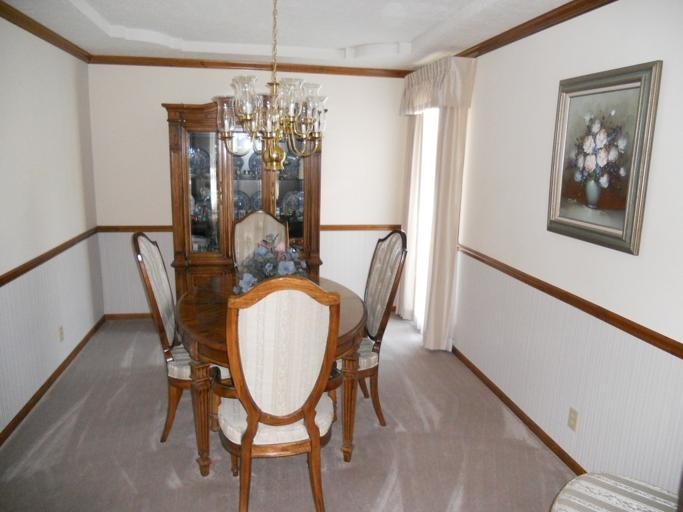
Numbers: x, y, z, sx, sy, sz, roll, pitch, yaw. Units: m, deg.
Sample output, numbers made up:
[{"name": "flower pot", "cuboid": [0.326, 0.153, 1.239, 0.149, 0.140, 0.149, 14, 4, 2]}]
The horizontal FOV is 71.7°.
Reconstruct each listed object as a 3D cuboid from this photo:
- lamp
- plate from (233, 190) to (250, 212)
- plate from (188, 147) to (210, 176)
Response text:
[{"name": "lamp", "cuboid": [-0.635, -1.469, 4.024, 0.885, 1.535, 0.945, -4, 22, -14]}, {"name": "plate", "cuboid": [-1.030, -0.579, 4.868, 0.161, 0.189, 0.051, -11, 10, -22]}, {"name": "plate", "cuboid": [-1.459, -0.972, 4.782, 0.234, 0.375, 0.033, -3, 11, -18]}]
